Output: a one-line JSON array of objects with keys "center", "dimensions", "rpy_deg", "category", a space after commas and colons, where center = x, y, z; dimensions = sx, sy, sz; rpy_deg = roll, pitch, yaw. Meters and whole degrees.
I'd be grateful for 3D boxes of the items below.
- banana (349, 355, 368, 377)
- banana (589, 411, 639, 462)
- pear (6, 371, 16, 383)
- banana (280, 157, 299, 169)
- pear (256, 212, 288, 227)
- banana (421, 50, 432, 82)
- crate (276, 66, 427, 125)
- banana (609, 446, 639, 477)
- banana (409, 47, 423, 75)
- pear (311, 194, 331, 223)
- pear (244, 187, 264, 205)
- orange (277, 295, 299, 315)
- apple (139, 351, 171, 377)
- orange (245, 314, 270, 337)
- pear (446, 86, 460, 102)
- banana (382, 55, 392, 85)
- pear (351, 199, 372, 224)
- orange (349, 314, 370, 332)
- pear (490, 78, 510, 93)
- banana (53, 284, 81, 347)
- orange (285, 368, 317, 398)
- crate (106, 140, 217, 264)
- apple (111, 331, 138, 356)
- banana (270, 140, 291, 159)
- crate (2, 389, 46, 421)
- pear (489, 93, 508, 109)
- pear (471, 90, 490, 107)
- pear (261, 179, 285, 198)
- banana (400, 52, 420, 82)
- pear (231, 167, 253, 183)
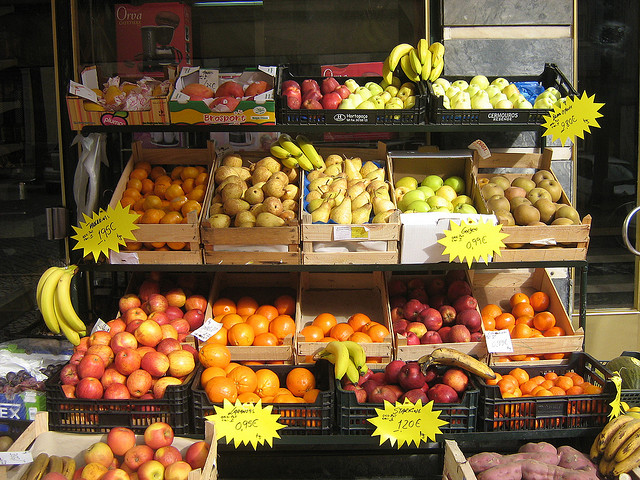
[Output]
[{"center": [0.242, 0.789, 3.831], "dimensions": [0.082, 0.150, 0.043], "rpy_deg": [-37, 14, -23], "category": "banana"}, {"center": [1.728, 1.150, 3.562], "dimensions": [0.174, 0.116, 0.320], "rpy_deg": [36, 62, 29], "category": "banana"}, {"center": [-2.061, 0.917, 4.035], "dimensions": [0.054, 0.033, 0.056], "rpy_deg": [10, 46, 7], "category": "pear"}, {"center": [-0.209, -0.555, 4.367], "dimensions": [0.152, 0.050, 0.102], "rpy_deg": [12, 13, 27], "category": "banana"}, {"center": [-0.332, -0.128, 3.972], "dimensions": [0.168, 0.079, 0.083], "rpy_deg": [9, 51, 0], "category": "pear"}, {"center": [0.748, -1.206, 4.232], "dimensions": [0.066, 0.219, 0.069], "rpy_deg": [6, -4, -18], "category": "banana"}, {"center": [0.215, -1.038, 4.255], "dimensions": [1.018, 0.410, 0.731], "rpy_deg": [-4, 17, 1], "category": "crate"}, {"center": [1.730, 1.260, 3.427], "dimensions": [0.200, 0.052, 0.066], "rpy_deg": [-38, 13, 2], "category": "banana"}, {"center": [0.669, -1.266, 4.286], "dimensions": [0.066, 0.064, 0.209], "rpy_deg": [22, 42, -30], "category": "banana"}, {"center": [0.011, -0.179, 4.011], "dimensions": [0.161, 0.124, 0.076], "rpy_deg": [-12, 19, -25], "category": "pear"}, {"center": [-0.448, -0.310, 4.145], "dimensions": [0.115, 0.113, 0.069], "rpy_deg": [-34, -16, -21], "category": "pear"}, {"center": [-0.234, 0.472, 4.358], "dimensions": [0.120, 0.124, 0.144], "rpy_deg": [2, 26, 8], "category": "orange"}, {"center": [-0.998, 0.758, 3.701], "dimensions": [0.191, 0.157, 0.153], "rpy_deg": [10, -23, -2], "category": "apple"}, {"center": [-0.418, 0.579, 4.148], "dimensions": [0.129, 0.152, 0.133], "rpy_deg": [-2, 55, 12], "category": "orange"}, {"center": [0.907, -1.003, 4.208], "dimensions": [0.095, 0.117, 0.092], "rpy_deg": [3, -7, -10], "category": "pear"}, {"center": [0.493, -1.240, 4.418], "dimensions": [0.063, 0.198, 0.056], "rpy_deg": [6, 31, 12], "category": "banana"}, {"center": [0.278, -0.186, 4.032], "dimensions": [0.076, 0.151, 0.075], "rpy_deg": [26, -5, 7], "category": "pear"}, {"center": [0.272, 0.576, 4.188], "dimensions": [0.112, 0.134, 0.114], "rpy_deg": [-6, -7, 13], "category": "orange"}, {"center": [1.288, -1.122, 4.323], "dimensions": [0.107, 0.059, 0.109], "rpy_deg": [24, 55, 37], "category": "pear"}, {"center": [-1.650, 0.506, 3.997], "dimensions": [0.143, 0.383, 0.173], "rpy_deg": [-6, 21, -17], "category": "banana"}, {"center": [-0.116, 0.867, 3.850], "dimensions": [0.158, 0.157, 0.180], "rpy_deg": [25, 11, 23], "category": "orange"}, {"center": [-1.087, -0.258, 4.326], "dimensions": [0.611, 0.446, 0.998], "rpy_deg": [0, 45, 2], "category": "crate"}, {"center": [-1.226, 0.628, 3.812], "dimensions": [0.133, 0.135, 0.139], "rpy_deg": [-6, 32, 44], "category": "apple"}, {"center": [-0.302, -0.666, 4.411], "dimensions": [0.142, 0.070, 0.219], "rpy_deg": [-2, 22, -20], "category": "banana"}, {"center": [-1.882, 1.059, 3.844], "dimensions": [0.252, 0.180, 0.138], "rpy_deg": [1, 3, 9], "category": "crate"}, {"center": [1.211, -0.955, 4.160], "dimensions": [0.123, 0.124, 0.121], "rpy_deg": [-3, 2, -23], "category": "pear"}, {"center": [1.092, -0.963, 4.159], "dimensions": [0.106, 0.128, 0.110], "rpy_deg": [5, 6, -7], "category": "pear"}, {"center": [-0.322, -0.356, 4.158], "dimensions": [0.186, 0.128, 0.128], "rpy_deg": [4, 27, 10], "category": "pear"}, {"center": [0.634, -1.240, 4.308], "dimensions": [0.088, 0.253, 0.076], "rpy_deg": [-16, -23, 0], "category": "banana"}, {"center": [-0.552, -0.470, 4.393], "dimensions": [0.096, 0.070, 0.123], "rpy_deg": [2, -2, 20], "category": "pear"}]
